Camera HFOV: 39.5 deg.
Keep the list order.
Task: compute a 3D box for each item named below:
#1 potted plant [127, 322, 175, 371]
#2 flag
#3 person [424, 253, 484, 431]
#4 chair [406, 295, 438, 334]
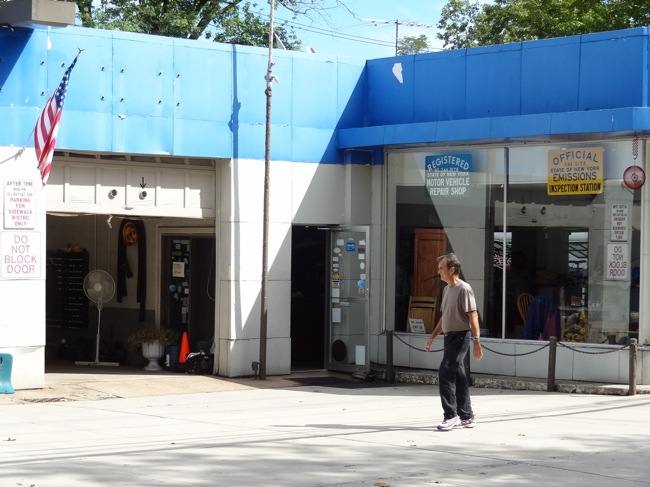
[{"bbox_3d":[-3.894,2.332,20.243,0.888,0.958,0.556,1,-3,-11],"label":"potted plant"},{"bbox_3d":[-4.958,-2.290,16.714,0.563,2.262,0.650,1,7,-40],"label":"flag"},{"bbox_3d":[1.887,1.409,13.293,0.649,2.454,0.746,1,-2,-13],"label":"person"},{"bbox_3d":[2.132,1.515,19.339,0.640,1.019,0.696,0,-1,12],"label":"chair"}]
